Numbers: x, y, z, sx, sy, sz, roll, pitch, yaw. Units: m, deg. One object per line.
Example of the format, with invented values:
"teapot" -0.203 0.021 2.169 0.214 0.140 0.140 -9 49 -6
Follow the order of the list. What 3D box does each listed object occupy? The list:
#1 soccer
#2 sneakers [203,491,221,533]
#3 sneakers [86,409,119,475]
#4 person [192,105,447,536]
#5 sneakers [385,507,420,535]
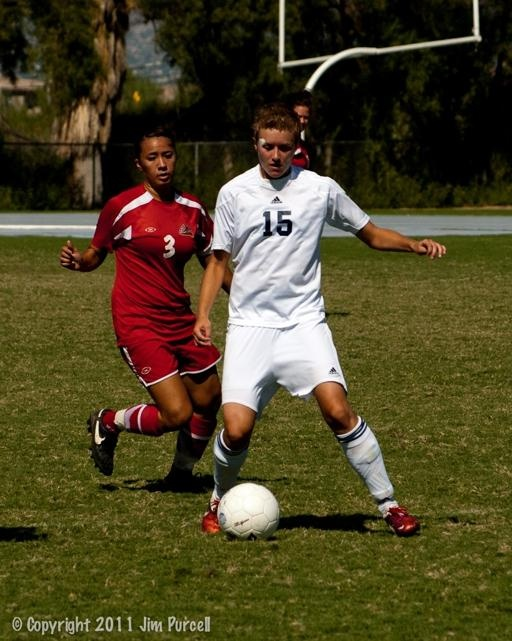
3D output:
"soccer" -0.020 0.797 5.221 0.219 0.228 0.218 -13 57 6
"sneakers" -0.193 0.825 5.285 0.052 0.068 0.156 24 15 -14
"sneakers" -0.716 0.561 5.845 0.159 0.340 0.112 -13 -8 27
"person" 0.186 -0.003 5.185 0.843 1.761 0.456 -1 10 0
"sneakers" 0.604 0.826 5.124 0.083 0.070 0.158 -35 24 -10
